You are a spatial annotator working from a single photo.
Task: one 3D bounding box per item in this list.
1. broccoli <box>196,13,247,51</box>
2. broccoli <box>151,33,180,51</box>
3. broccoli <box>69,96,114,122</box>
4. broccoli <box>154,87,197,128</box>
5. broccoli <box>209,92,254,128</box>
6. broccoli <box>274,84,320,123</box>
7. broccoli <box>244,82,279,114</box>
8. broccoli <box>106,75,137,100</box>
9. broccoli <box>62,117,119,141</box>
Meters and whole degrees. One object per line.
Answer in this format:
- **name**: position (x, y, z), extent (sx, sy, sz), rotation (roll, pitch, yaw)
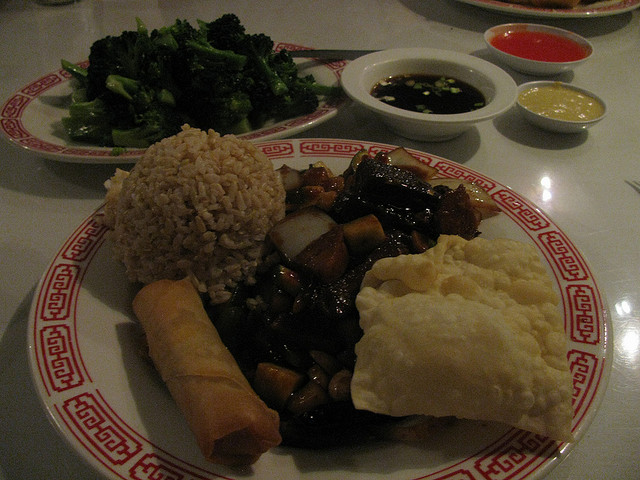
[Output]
- **broccoli**: position (-0.687, -1.450, 4.014), extent (0.318, 0.132, 0.378), rotation (-18, 61, -7)
- **broccoli**: position (-1.056, -1.359, 3.880), extent (0.141, 0.039, 0.133), rotation (-13, 46, -19)
- **broccoli**: position (-1.507, -0.865, 3.761), extent (0.241, 0.094, 0.166), rotation (-4, 80, -16)
- **broccoli**: position (-0.975, -0.900, 3.907), extent (0.269, 0.276, 0.072), rotation (43, 90, 7)
- **broccoli**: position (-0.631, -0.900, 3.963), extent (0.187, 0.373, 0.287), rotation (-24, 101, -4)
- **broccoli**: position (-0.155, -0.997, 4.087), extent (0.252, 0.250, 0.317), rotation (-19, 29, -39)
- **broccoli**: position (-0.386, -0.983, 3.900), extent (0.197, 0.061, 0.190), rotation (39, 105, -7)
- **broccoli**: position (-1.314, -1.009, 3.723), extent (0.159, 0.053, 0.165), rotation (37, 36, -19)
- **broccoli**: position (-1.529, -0.750, 3.776), extent (0.220, 0.216, 0.077), rotation (-31, 78, 11)
